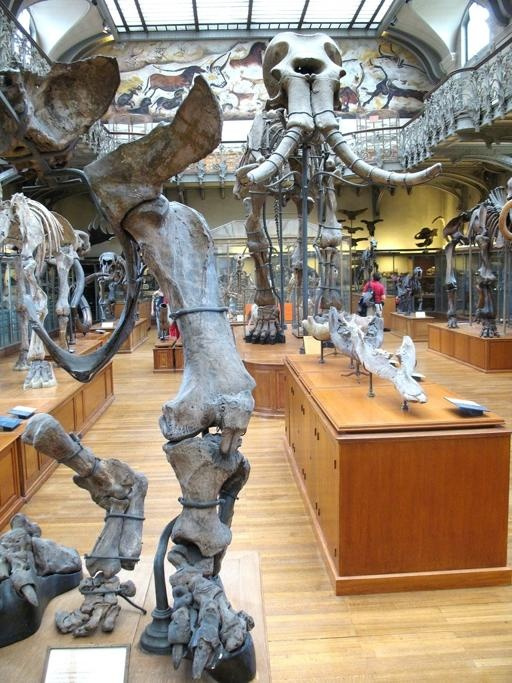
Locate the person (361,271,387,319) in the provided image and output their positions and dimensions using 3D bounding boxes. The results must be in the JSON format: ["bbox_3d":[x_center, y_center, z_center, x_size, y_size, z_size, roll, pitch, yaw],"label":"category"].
[{"bbox_3d":[2.535,-0.950,10.608,0.482,1.257,0.425,3,36,12],"label":"person"}]
